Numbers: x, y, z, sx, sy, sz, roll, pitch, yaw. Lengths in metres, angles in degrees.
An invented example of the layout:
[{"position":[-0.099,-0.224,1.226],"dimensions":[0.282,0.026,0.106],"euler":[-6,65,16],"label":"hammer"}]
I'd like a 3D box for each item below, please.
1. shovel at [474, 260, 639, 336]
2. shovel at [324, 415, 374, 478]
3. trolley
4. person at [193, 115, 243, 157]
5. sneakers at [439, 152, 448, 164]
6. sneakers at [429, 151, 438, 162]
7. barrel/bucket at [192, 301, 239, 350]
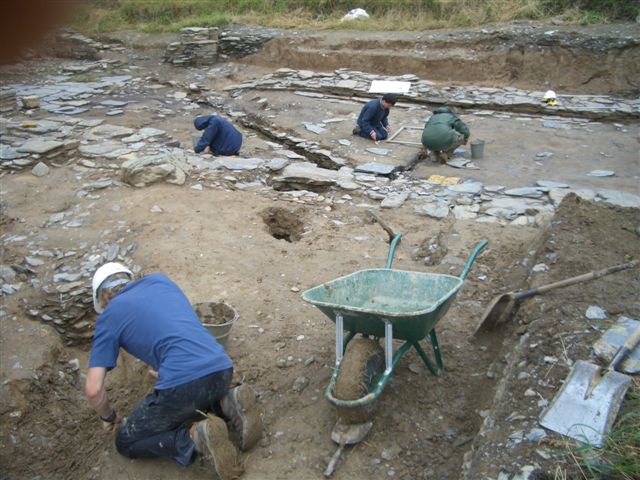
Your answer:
[{"position":[2.190,0.535,4.599],"dimensions":[1.606,0.152,0.458],"euler":[-12,1,-30],"label":"shovel"},{"position":[0.228,1.693,4.176],"dimensions":[0.281,0.092,0.436],"euler":[15,61,31],"label":"shovel"},{"position":[0.728,0.678,4.544],"dimensions":[1.133,0.957,2.003],"euler":[9,19,31],"label":"trolley"},{"position":[-1.759,-1.825,8.983],"dimensions":[0.802,0.618,0.838],"euler":[23,39,19],"label":"person"},{"position":[2.166,-1.416,8.849],"dimensions":[0.146,0.171,0.066],"euler":[3,9,-14],"label":"sneakers"},{"position":[2.004,-1.477,8.978],"dimensions":[0.133,0.179,0.198],"euler":[9,3,19],"label":"sneakers"},{"position":[-1.021,0.779,4.977],"dimensions":[0.482,0.315,0.437],"euler":[3,28,1],"label":"barrel/bucket"}]
